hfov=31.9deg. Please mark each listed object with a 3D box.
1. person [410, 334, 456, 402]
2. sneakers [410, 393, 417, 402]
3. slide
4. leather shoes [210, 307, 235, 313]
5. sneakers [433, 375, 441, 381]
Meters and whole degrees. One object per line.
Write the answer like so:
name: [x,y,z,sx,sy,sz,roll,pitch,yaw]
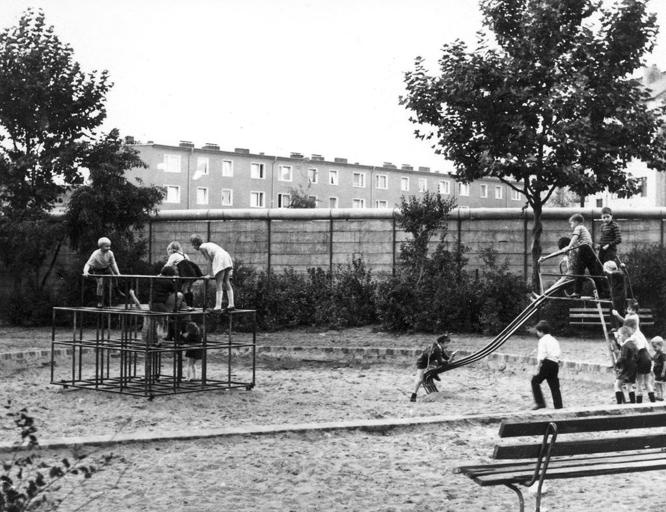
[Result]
person: [1.961,2.192,23.386,0.802,1.280,1.889,0,-2,5]
sneakers: [1.565,2.730,22.581,0.137,0.199,0.148,1,3,14]
slide: [3.919,1.921,27.509,3.258,1.211,0.386,-26,30,-1]
leather shoes: [-2.148,1.047,22.648,0.476,0.189,0.160,3,-5,-6]
sneakers: [2.057,2.410,23.057,0.114,0.161,0.432,8,-7,5]
